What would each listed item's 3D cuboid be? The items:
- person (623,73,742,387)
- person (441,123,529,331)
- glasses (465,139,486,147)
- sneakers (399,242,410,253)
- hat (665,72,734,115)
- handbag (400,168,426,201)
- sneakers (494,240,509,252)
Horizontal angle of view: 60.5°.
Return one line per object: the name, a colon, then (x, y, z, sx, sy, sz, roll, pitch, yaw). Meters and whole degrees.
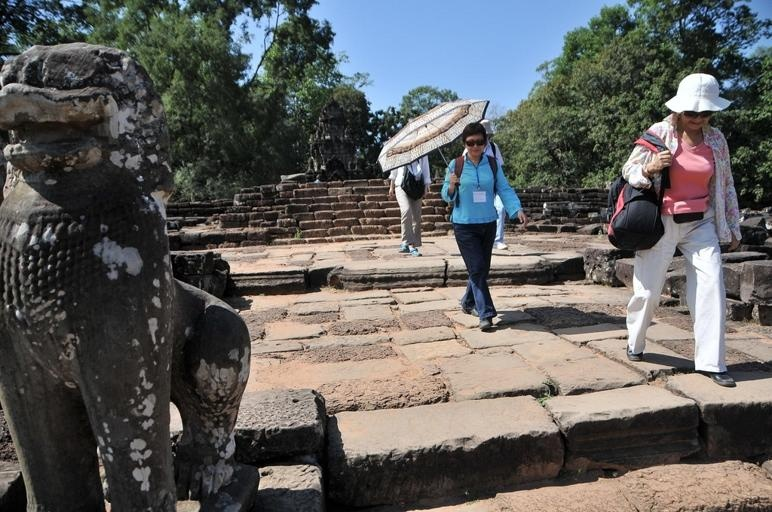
person: (2.018, -0.098, 4.561, 0.729, 1.793, 0.619, -2, 5, 28)
person: (0.880, -0.300, 5.823, 0.621, 1.761, 0.650, -7, 5, -26)
glasses: (0.774, -0.973, 5.681, 0.186, 0.053, 0.088, -6, 5, -23)
sneakers: (0.259, -0.131, 9.582, 0.160, 0.164, 0.100, 3, -10, 8)
hat: (2.152, -1.120, 4.560, 0.333, 0.187, 0.362, 3, 19, 25)
handbag: (0.374, -0.992, 9.020, 0.347, 0.445, 0.241, -9, -6, -16)
sneakers: (1.648, -0.134, 9.445, 0.101, 0.142, 0.330, -1, -6, -5)
